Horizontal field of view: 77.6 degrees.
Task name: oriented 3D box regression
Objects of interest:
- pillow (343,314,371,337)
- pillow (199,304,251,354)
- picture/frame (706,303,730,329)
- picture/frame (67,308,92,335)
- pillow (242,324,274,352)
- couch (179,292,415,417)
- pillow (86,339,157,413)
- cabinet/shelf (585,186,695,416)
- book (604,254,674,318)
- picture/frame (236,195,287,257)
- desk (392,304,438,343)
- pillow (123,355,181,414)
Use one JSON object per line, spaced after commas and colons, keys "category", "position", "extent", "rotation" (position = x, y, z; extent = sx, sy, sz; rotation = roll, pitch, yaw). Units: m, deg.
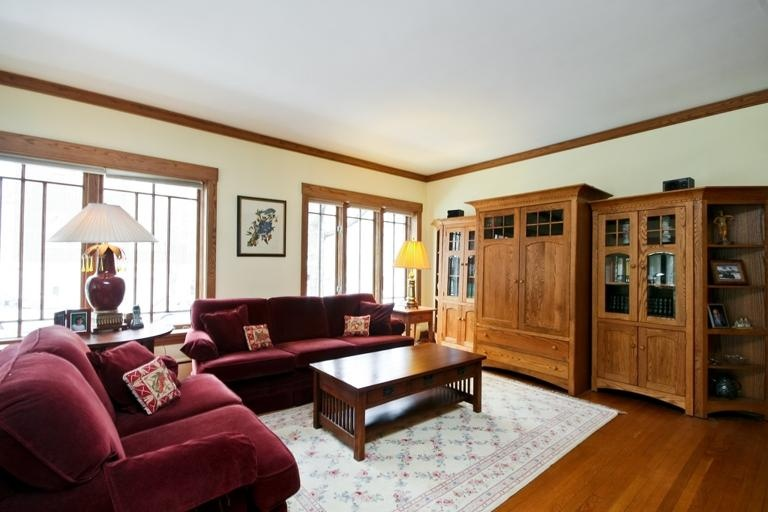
{"category": "pillow", "position": [-0.335, 0.910, 6.083], "extent": [0.279, 0.251, 0.088], "rotation": [-1, -20, 2]}
{"category": "pillow", "position": [-1.715, 0.813, 5.207], "extent": [0.145, 0.447, 0.482], "rotation": [-31, -15, 37]}
{"category": "picture/frame", "position": [3.609, 0.666, 5.173], "extent": [0.275, 0.304, 0.042], "rotation": [2, -23, -9]}
{"category": "picture/frame", "position": [-2.978, 0.653, 4.658], "extent": [0.217, 0.290, 0.031], "rotation": [3, -17, -43]}
{"category": "pillow", "position": [-1.416, 0.909, 5.339], "extent": [0.083, 0.258, 0.286], "rotation": [-28, -19, 35]}
{"category": "couch", "position": [-0.904, 1.064, 5.738], "extent": [2.620, 1.075, 1.065], "rotation": [-1, 2, -34]}
{"category": "pillow", "position": [-2.180, 1.007, 3.942], "extent": [0.157, 0.486, 0.532], "rotation": [-27, -15, 13]}
{"category": "cabinet/shelf", "position": [3.017, 0.464, 5.564], "extent": [0.424, 2.228, 1.015], "rotation": [2, -2, -34]}
{"category": "book", "position": [2.922, 0.340, 5.463], "extent": [0.736, 0.731, 0.081], "rotation": [-2, 0, 40]}
{"category": "picture/frame", "position": [-1.682, -0.397, 6.417], "extent": [0.866, 0.986, 0.068], "rotation": [2, -4, -37]}
{"category": "desk", "position": [0.412, 0.941, 7.072], "extent": [0.621, 0.726, 0.776], "rotation": [-1, 0, -23]}
{"category": "pillow", "position": [-1.942, 1.085, 3.985], "extent": [0.106, 0.368, 0.402], "rotation": [-32, 0, 32]}
